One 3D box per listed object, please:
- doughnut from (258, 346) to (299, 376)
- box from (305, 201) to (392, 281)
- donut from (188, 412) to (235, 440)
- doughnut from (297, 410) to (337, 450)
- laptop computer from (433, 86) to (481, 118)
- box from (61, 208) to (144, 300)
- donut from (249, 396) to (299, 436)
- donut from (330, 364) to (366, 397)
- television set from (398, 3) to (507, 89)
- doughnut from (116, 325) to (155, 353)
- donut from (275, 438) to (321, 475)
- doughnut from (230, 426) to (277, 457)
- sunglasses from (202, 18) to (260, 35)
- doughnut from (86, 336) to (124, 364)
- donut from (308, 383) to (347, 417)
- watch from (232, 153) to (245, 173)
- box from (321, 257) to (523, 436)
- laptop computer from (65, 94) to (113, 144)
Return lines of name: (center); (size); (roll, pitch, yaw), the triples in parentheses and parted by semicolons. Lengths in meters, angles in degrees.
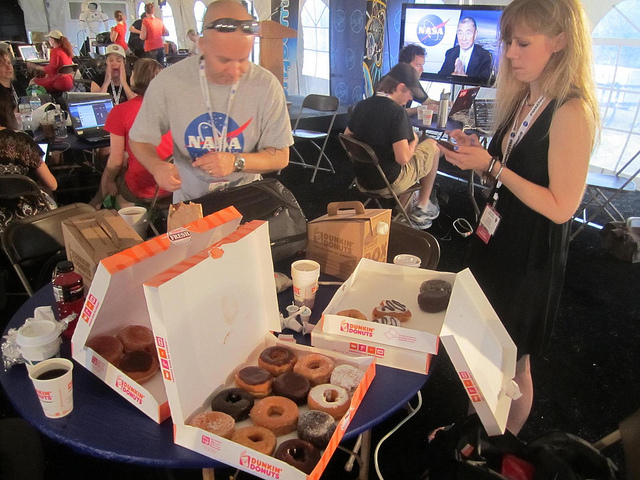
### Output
doughnut: (-0.142, 0.409, 1.513); (0.124, 0.047, 0.131); (20, 26, 26)
box: (0.135, 0.016, 2.144); (0.375, 0.376, 0.367); (11, 21, 30)
donut: (-0.305, 0.536, 1.281); (0.122, 0.039, 0.077); (9, 26, 16)
doughnut: (-0.006, 0.561, 1.311); (0.127, 0.046, 0.133); (6, 12, 9)
laptop computer: (1.549, -1.566, 4.935); (0.417, 0.262, 0.350); (-23, 35, -31)
box: (-0.909, 0.081, 1.840); (0.219, 0.333, 0.250); (18, 18, 17)
donut: (-0.133, 0.522, 1.326); (0.136, 0.087, 0.113); (13, 22, 37)
donut: (0.094, 0.457, 1.443); (0.118, 0.047, 0.149); (-2, 16, 12)
television set: (1.605, -2.463, 5.525); (0.244, 0.921, 1.508); (-15, 29, -30)
doughnut: (-0.621, 0.333, 1.499); (0.096, 0.035, 0.097); (34, 27, 32)
donut: (-0.055, 0.597, 1.225); (0.112, 0.053, 0.123); (-6, 21, -17)
doughnut: (-0.186, 0.574, 1.263); (0.131, 0.049, 0.087); (8, 26, 13)
sunglasses: (-0.388, -0.942, 1.936); (0.248, 0.059, 0.107); (-2, 25, -8)
doughnut: (-0.701, 0.351, 1.443); (0.081, 0.052, 0.081); (23, 11, 17)
donut: (0.033, 0.505, 1.388); (0.120, 0.046, 0.125); (19, 29, 19)
watch: (-0.387, -0.371, 2.121); (0.054, 0.083, 0.080); (-3, 19, -38)
box: (0.344, 0.442, 1.698); (0.666, 0.282, 0.639); (12, 34, 15)
laptop computer: (-2.223, -1.227, 4.495); (0.514, 0.343, 0.455); (-23, 49, -41)
